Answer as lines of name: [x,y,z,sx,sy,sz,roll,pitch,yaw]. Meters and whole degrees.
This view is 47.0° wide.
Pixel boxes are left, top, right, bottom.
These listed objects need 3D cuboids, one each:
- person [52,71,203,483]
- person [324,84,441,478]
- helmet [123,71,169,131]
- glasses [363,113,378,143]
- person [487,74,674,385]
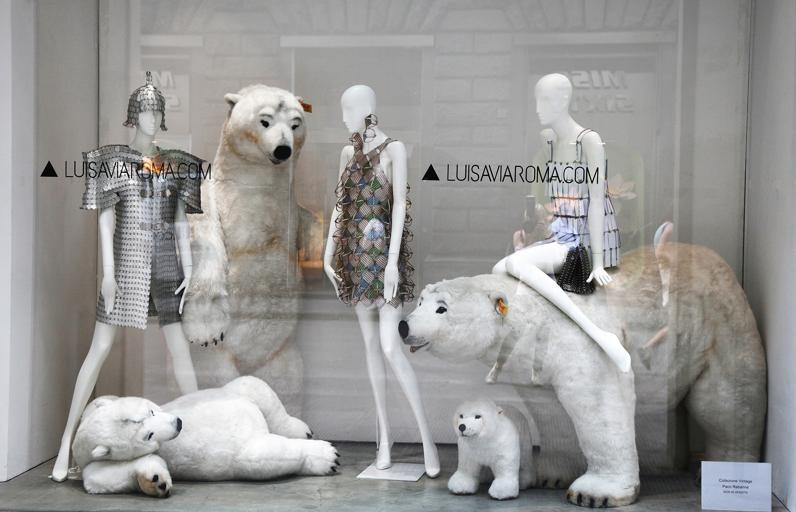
person: [-1.651,0.143,5.706,0.877,2.384,0.285,-1,5,-13]
person: [-0.103,0.146,5.616,0.723,2.357,0.301,0,5,4]
helmet: [-1.577,-0.961,5.691,0.318,0.368,0.289,-1,1,-35]
glasses: [-0.178,-0.789,5.609,0.092,0.154,0.032,38,-17,-34]
person: [1.002,-0.232,5.470,0.729,1.746,0.409,1,5,6]
